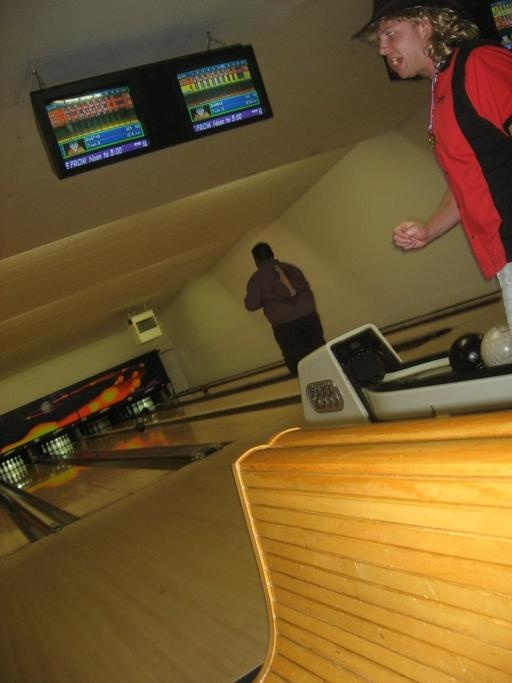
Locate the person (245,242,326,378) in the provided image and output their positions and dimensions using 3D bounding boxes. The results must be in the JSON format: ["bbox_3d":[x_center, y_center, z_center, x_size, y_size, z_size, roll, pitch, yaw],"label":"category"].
[{"bbox_3d":[0.204,-0.229,3.253,0.471,0.815,0.309,-27,11,8],"label":"person"}]
